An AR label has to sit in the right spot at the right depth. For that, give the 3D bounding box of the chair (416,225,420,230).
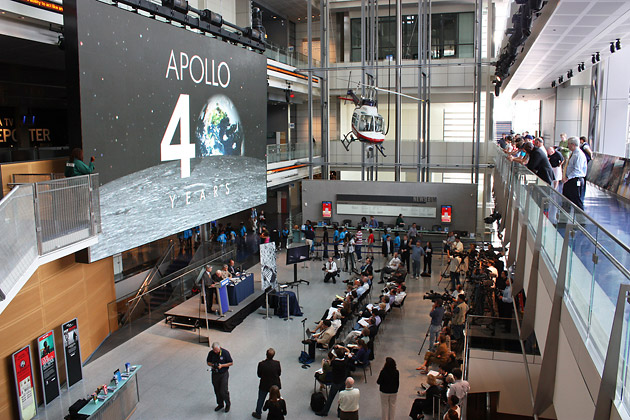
[{"bbox_3d":[6.030,0.997,25.202,0.335,0.343,0.246,6,16,23],"label":"chair"}]

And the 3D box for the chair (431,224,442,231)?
[{"bbox_3d":[6.966,0.995,24.748,0.507,0.295,0.372,6,-4,9],"label":"chair"}]

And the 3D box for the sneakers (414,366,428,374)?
[{"bbox_3d":[3.249,4.812,13.098,0.487,0.202,0.153,5,5,45],"label":"sneakers"}]

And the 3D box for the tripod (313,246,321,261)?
[{"bbox_3d":[0.141,2.353,23.760,0.155,0.622,0.659,6,22,-10],"label":"tripod"}]

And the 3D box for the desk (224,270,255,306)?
[{"bbox_3d":[-2.873,3.142,17.001,0.826,0.709,1.352,1,7,11],"label":"desk"}]

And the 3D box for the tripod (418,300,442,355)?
[{"bbox_3d":[3.848,3.631,14.109,0.639,1.913,1.064,4,14,19],"label":"tripod"}]

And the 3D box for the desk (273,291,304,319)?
[{"bbox_3d":[-1.061,3.633,16.414,0.933,0.521,0.970,0,-1,3],"label":"desk"}]

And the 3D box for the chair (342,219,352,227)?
[{"bbox_3d":[1.936,0.736,25.769,0.364,0.462,0.496,2,0,-1],"label":"chair"}]
